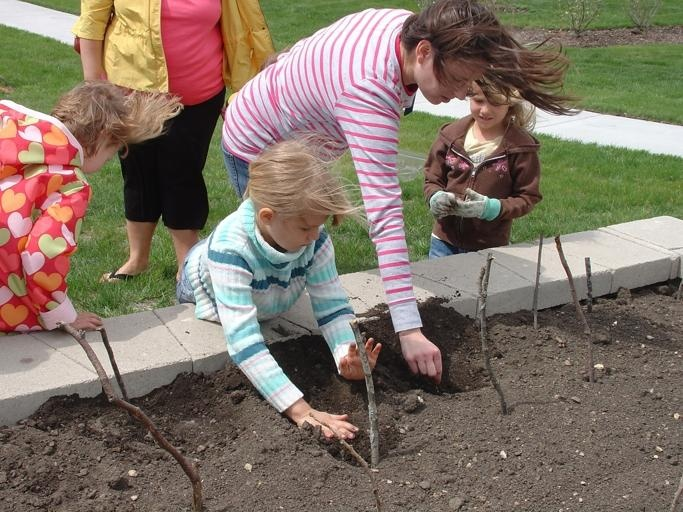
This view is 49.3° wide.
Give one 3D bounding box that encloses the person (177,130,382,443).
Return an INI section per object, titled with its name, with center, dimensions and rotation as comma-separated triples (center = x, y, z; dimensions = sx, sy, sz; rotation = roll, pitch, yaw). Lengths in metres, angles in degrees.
[person]
center = -0.298, 0.176, 3.662
dimensions = 0.600, 1.049, 1.709
rotation = -18, 45, -32

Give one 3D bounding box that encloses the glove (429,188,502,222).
[glove]
center = 0.736, -0.284, 4.442
dimensions = 0.297, 0.127, 0.220
rotation = 8, -12, -11
